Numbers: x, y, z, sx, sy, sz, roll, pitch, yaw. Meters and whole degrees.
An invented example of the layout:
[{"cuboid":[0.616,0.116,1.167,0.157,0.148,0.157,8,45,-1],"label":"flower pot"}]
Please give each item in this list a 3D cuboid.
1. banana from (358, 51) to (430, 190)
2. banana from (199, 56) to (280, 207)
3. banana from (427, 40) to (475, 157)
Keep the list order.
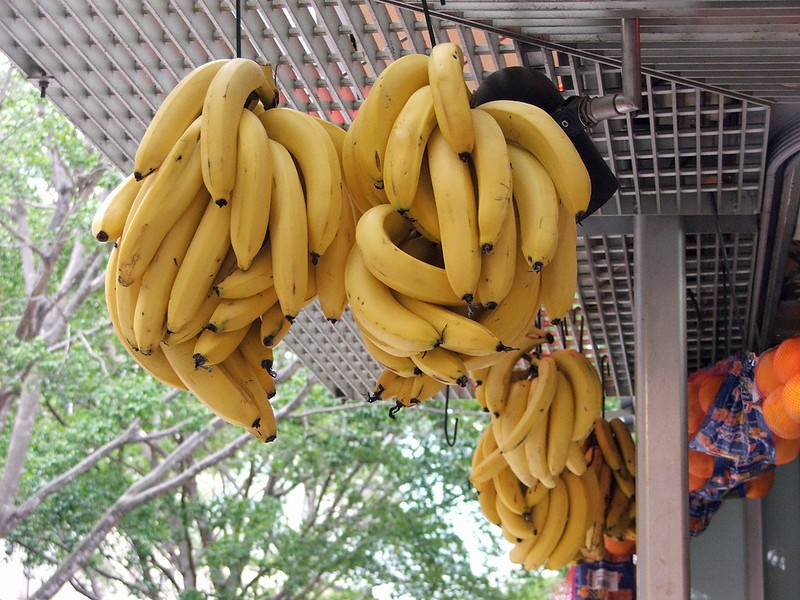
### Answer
[{"cuboid":[-0.048,-0.624,3.063,0.180,0.462,0.225,25,-32,-19],"label":"banana"},{"cuboid":[-0.558,-0.589,3.046,0.111,0.567,0.225,-1,-33,24],"label":"banana"},{"cuboid":[0.155,-0.639,3.008,0.101,0.411,0.129,-18,-21,21],"label":"banana"}]
